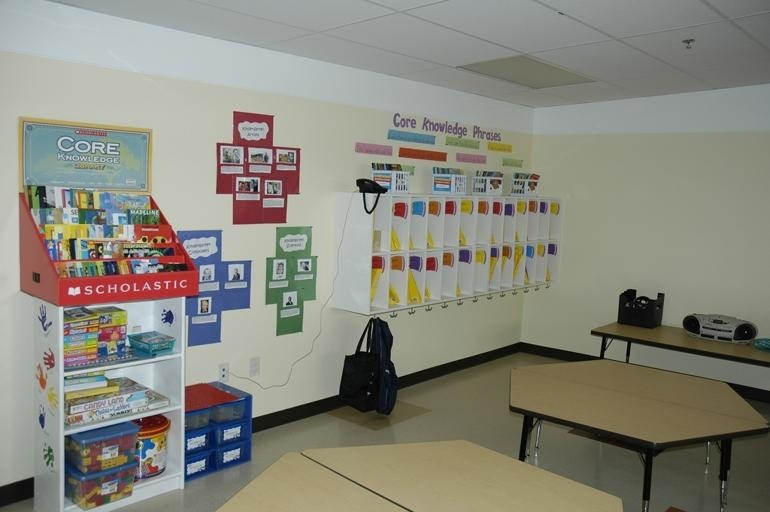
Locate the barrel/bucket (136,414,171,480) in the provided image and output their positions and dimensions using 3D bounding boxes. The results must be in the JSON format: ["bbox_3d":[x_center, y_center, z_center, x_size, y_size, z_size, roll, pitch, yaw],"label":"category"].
[{"bbox_3d":[-1.865,1.547,4.100,0.245,0.357,0.297,-12,-14,42],"label":"barrel/bucket"}]

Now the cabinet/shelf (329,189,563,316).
[{"bbox_3d":[0.852,-0.132,5.827,2.607,1.008,0.424,-4,7,-20],"label":"cabinet/shelf"}]

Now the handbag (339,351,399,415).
[{"bbox_3d":[-0.175,1.295,5.245,0.600,0.710,0.400,7,-2,32],"label":"handbag"}]

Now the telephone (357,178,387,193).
[{"bbox_3d":[-0.131,-0.697,5.097,0.279,0.126,0.156,3,11,1],"label":"telephone"}]
